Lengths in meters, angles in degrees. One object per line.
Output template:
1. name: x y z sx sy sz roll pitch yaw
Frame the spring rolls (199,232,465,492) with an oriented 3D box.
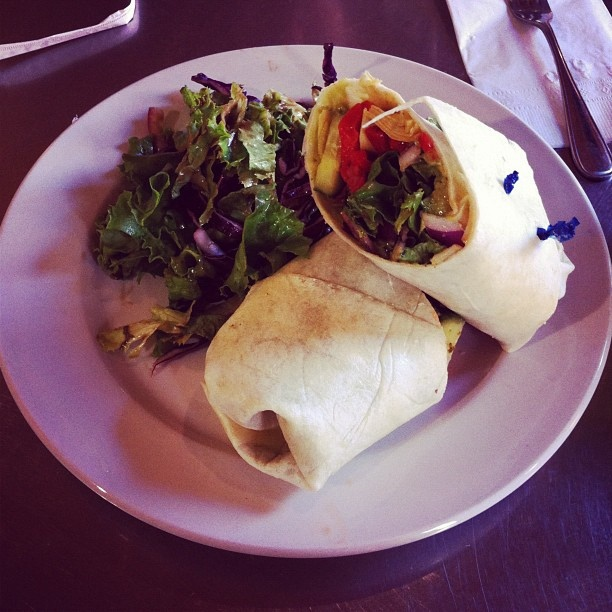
1. spring rolls: 0.060 0.065 1.594 0.521 0.220 0.615 38 59 12

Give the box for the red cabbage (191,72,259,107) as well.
1. red cabbage: -0.209 -0.547 1.823 0.211 0.050 0.053 25 33 7

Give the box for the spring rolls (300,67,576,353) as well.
1. spring rolls: 0.297 -0.225 1.504 0.711 0.381 0.396 33 85 4
